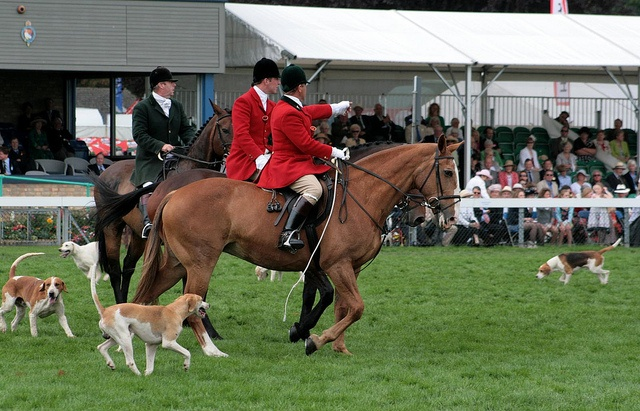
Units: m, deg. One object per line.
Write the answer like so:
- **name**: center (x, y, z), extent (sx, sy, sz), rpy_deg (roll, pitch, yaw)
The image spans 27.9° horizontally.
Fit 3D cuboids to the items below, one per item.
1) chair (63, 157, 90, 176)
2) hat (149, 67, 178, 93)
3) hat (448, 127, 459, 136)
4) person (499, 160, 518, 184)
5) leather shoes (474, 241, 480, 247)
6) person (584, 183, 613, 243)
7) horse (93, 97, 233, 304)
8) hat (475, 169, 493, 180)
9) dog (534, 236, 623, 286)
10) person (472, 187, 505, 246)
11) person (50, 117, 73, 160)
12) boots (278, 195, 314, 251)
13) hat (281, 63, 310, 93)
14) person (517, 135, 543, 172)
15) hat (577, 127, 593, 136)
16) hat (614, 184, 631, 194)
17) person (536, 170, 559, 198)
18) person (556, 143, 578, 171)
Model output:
- **chair**: center (-6.534, -0.918, 34.723), extent (0.619, 0.839, 0.573), rpy_deg (-5, 8, -39)
- **hat**: center (-3.175, -2.614, 26.302), extent (0.490, 0.333, 0.363), rpy_deg (-18, 23, -14)
- **hat**: center (3.731, -2.008, 35.395), extent (0.178, 0.240, 0.250), rpy_deg (5, -14, 11)
- **person**: center (5.027, -0.833, 33.872), extent (0.542, 0.654, 0.929), rpy_deg (1, 3, 9)
- **leather shoes**: center (3.957, 0.981, 31.947), extent (0.145, 0.107, 0.094), rpy_deg (2, 7, -10)
- **person**: center (7.194, 0.223, 32.630), extent (0.647, 1.421, 1.581), rpy_deg (1, 3, 13)
- **horse**: center (-3.108, 0.240, 26.190), extent (4.487, 3.692, 1.145), rpy_deg (-12, -15, 39)
- **hat**: center (4.298, -0.780, 33.178), extent (0.300, 0.115, 0.301), rpy_deg (28, -10, -30)
- **dog**: center (5.846, 1.342, 29.267), extent (1.707, 0.819, 0.888), rpy_deg (1, 3, 10)
- **person**: center (4.291, 0.348, 32.195), extent (0.873, 1.291, 0.487), rpy_deg (1, -4, -2)
- **person**: center (-7.091, -1.825, 35.439), extent (0.659, 1.122, 0.981), rpy_deg (0, 3, -11)
- **boots**: center (-0.462, 0.320, 25.019), extent (0.593, 1.249, 0.418), rpy_deg (7, -24, 30)
- **hat**: center (-0.482, -2.497, 25.303), extent (0.392, 0.561, 0.468), rpy_deg (6, -28, 29)
- **person**: center (5.802, -1.398, 35.857), extent (0.708, 1.243, 0.827), rpy_deg (2, -3, -21)
- **hat**: center (7.748, -2.150, 37.288), extent (0.336, 0.102, 0.357), rpy_deg (1, 11, -16)
- **hat**: center (7.983, -0.409, 33.720), extent (0.368, 0.246, 0.428), rpy_deg (1, 3, 12)
- **person**: center (5.950, -0.516, 33.288), extent (0.478, 0.896, 0.449), rpy_deg (4, -19, -9)
- **person**: center (6.965, -1.325, 36.036), extent (0.642, 0.898, 0.563), rpy_deg (4, -3, -7)
